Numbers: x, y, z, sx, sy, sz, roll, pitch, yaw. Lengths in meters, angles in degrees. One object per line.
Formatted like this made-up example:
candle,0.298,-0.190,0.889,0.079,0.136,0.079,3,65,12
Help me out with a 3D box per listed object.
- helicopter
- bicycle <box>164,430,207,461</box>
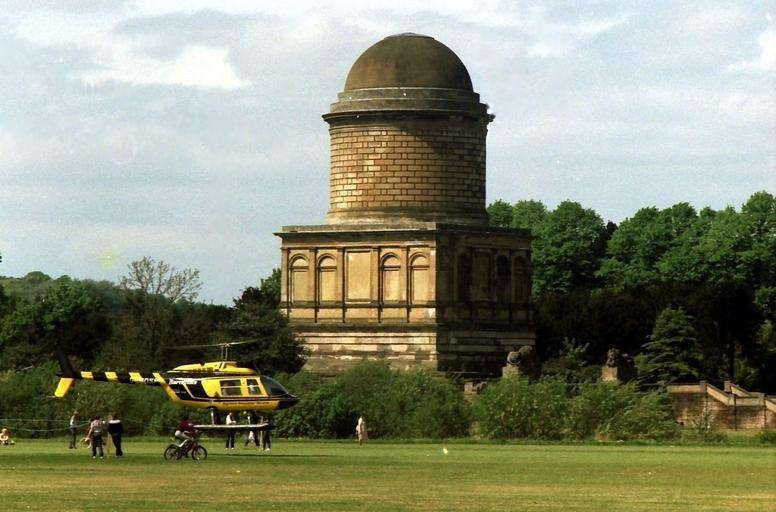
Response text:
helicopter,-8.400,4.923,73.647,10.112,2.905,4.129,-1,-7,4
bicycle,-7.433,7.068,67.265,1.560,1.065,1.934,1,-7,-7
